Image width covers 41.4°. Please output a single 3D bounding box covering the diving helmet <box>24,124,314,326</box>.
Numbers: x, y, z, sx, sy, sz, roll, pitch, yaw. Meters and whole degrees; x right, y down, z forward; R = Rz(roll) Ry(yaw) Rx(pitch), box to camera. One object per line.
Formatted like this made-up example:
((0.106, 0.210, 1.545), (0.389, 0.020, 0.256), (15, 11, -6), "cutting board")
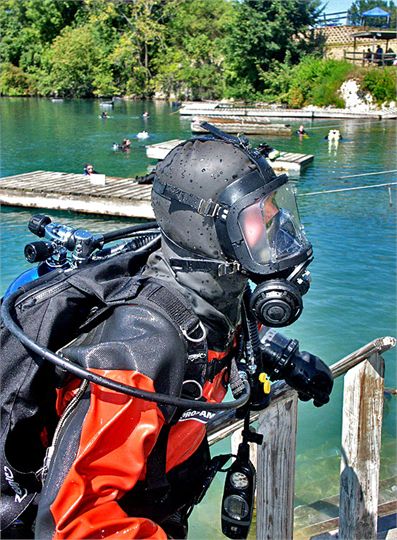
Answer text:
((-0.053, -0.197, 2.067), (0.938, 0.514, 0.574), (9, 33, 9), "diving helmet")
